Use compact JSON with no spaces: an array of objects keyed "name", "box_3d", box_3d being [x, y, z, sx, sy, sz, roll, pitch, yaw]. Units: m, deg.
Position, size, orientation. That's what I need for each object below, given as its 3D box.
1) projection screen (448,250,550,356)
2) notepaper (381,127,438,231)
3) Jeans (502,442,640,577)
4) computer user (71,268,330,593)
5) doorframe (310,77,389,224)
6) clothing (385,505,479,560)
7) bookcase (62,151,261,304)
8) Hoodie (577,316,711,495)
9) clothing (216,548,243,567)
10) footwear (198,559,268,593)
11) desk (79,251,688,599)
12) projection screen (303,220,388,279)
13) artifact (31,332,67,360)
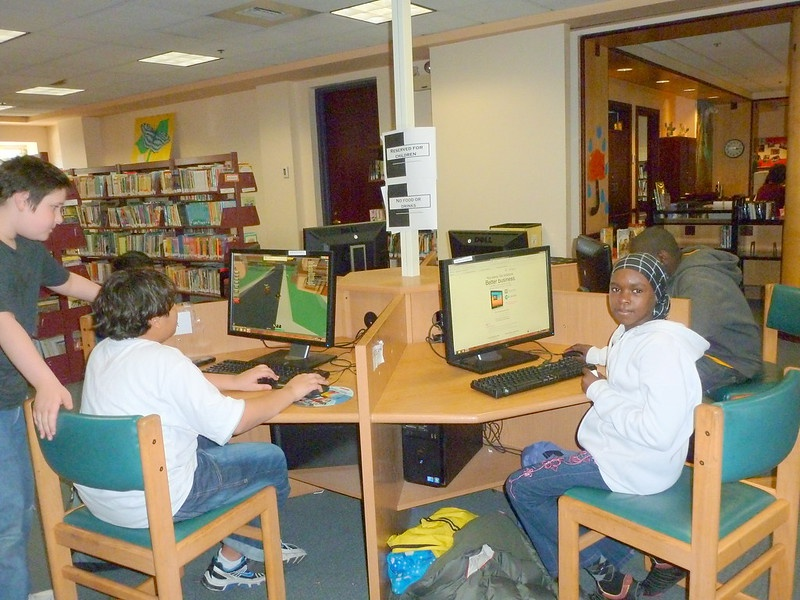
[{"name":"projection screen","box_3d":[0.469,0.006,3.044,0.529,0.350,0.055,-10,12,-29]},{"name":"notepaper","box_3d":[0.042,-0.692,3.652,0.361,0.589,0.239,-3,9,15]},{"name":"Jeans","box_3d":[0.816,0.852,2.857,0.607,0.566,0.244,-24,-5,33]},{"name":"computer user","box_3d":[-0.848,0.593,2.715,0.711,1.371,1.025,-2,3,33]},{"name":"doorframe","box_3d":[-0.647,-1.853,8.075,0.925,1.705,0.295,2,12,40]},{"name":"clothing","box_3d":[0.164,1.068,2.964,0.186,0.070,0.225,3,19,40]},{"name":"bookcase","box_3d":[-2.474,-0.807,6.770,2.261,1.193,0.811,2,8,37]},{"name":"Hoodie","box_3d":[0.943,0.337,2.736,0.605,0.646,0.884,8,13,28]},{"name":"clothing","box_3d":[-0.805,1.208,3.038,0.071,0.079,0.132,4,12,14]},{"name":"footwear","box_3d":[-0.795,1.278,3.025,0.334,0.150,0.122,2,-1,-18]},{"name":"desk","box_3d":[-0.090,0.517,3.538,1.740,2.044,1.814,2,7,20]},{"name":"projection screen","box_3d":[-0.302,-0.287,4.022,0.497,0.394,0.147,-9,41,-14]},{"name":"artifact","box_3d":[-3.222,0.424,5.877,0.061,0.241,0.262,-10,-4,41]}]
